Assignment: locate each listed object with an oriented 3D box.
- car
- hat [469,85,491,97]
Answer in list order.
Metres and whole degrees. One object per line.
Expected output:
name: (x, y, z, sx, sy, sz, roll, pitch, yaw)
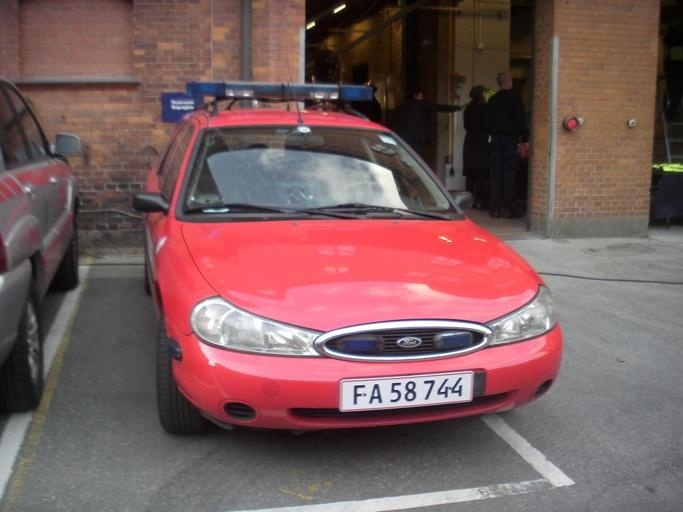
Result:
car: (-0.124, 0.046, 3.842, 2.079, 1.824, 2.289, -5, 14, -24)
hat: (2.896, -3.397, 12.877, 0.507, 0.219, 0.612, 4, 16, 14)
